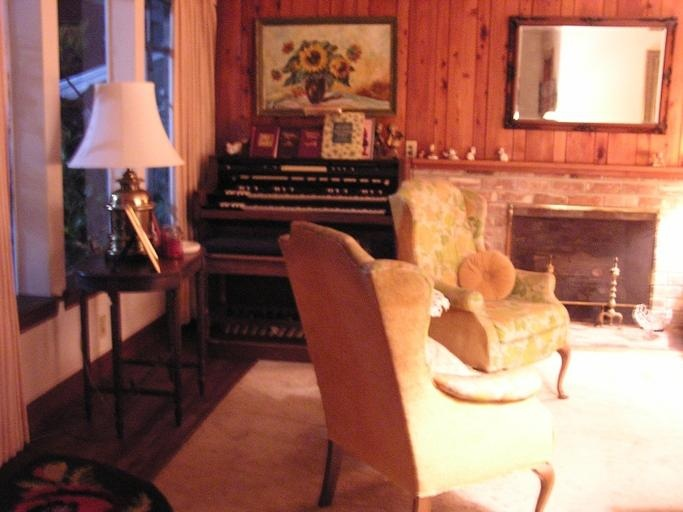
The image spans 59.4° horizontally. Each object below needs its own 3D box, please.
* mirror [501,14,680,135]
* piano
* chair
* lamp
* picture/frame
[{"bbox_3d":[1.938,-1.412,4.537,0.834,0.649,0.036,2,10,5],"label":"mirror"},{"bbox_3d":[-0.275,-0.047,3.609,1.354,1.409,0.540,1,8,6],"label":"piano"},{"bbox_3d":[0.368,0.432,2.988,1.198,1.596,1.175,-13,21,-32],"label":"chair"},{"bbox_3d":[-1.059,-0.540,3.245,0.627,0.946,0.605,5,6,36],"label":"lamp"},{"bbox_3d":[-0.081,-1.460,4.654,0.848,0.629,0.037,1,5,5],"label":"picture/frame"}]
